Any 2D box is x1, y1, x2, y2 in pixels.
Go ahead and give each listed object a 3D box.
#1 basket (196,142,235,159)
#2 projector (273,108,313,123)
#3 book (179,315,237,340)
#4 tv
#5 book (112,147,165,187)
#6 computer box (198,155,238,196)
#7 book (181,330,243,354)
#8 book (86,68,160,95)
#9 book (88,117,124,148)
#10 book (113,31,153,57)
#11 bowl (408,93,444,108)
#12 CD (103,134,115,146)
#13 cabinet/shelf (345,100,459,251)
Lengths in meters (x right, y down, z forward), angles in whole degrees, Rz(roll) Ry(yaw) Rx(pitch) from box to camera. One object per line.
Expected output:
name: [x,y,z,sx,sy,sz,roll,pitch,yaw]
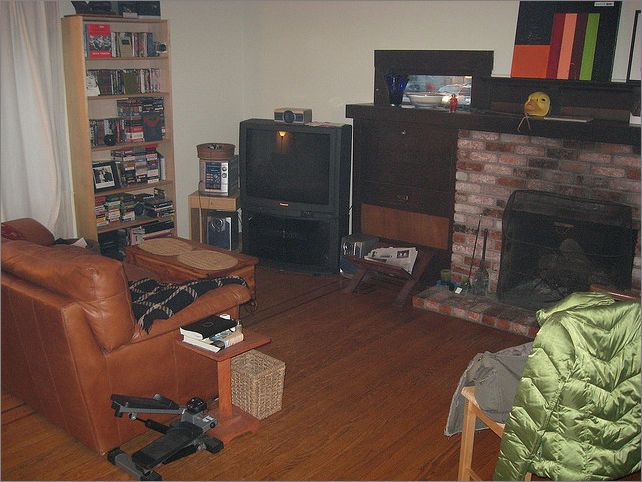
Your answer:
basket: [-1.098,-0.931,5.245,0.373,0.146,0.247,-4,18,-13]
projector: [-0.267,-1.226,4.925,0.371,0.137,0.239,-3,18,-8]
book: [-0.596,0.461,2.715,0.147,0.034,0.153,8,15,35]
tv: [-0.298,-0.707,4.962,1.043,0.876,0.245,6,19,19]
book: [-1.775,-0.710,4.823,0.193,0.253,0.372,16,23,41]
computer box: [-1.026,-0.687,5.202,0.398,0.400,0.414,5,9,27]
book: [-0.538,0.530,2.674,0.156,0.036,0.148,8,13,35]
book: [-1.812,-1.473,4.650,0.146,0.231,0.764,10,20,28]
book: [-1.973,-0.986,4.593,0.161,0.261,0.292,10,14,33]
book: [-1.729,-1.804,4.627,0.055,0.219,0.447,14,22,37]
bowl: [0.960,-1.286,4.625,0.322,0.121,0.160,3,18,10]
CD: [-1.938,-0.921,4.603,0.100,0.098,0.097,-9,17,-18]
cabinet/shelf: [0.790,-0.627,4.684,1.228,1.411,0.616,10,19,34]
